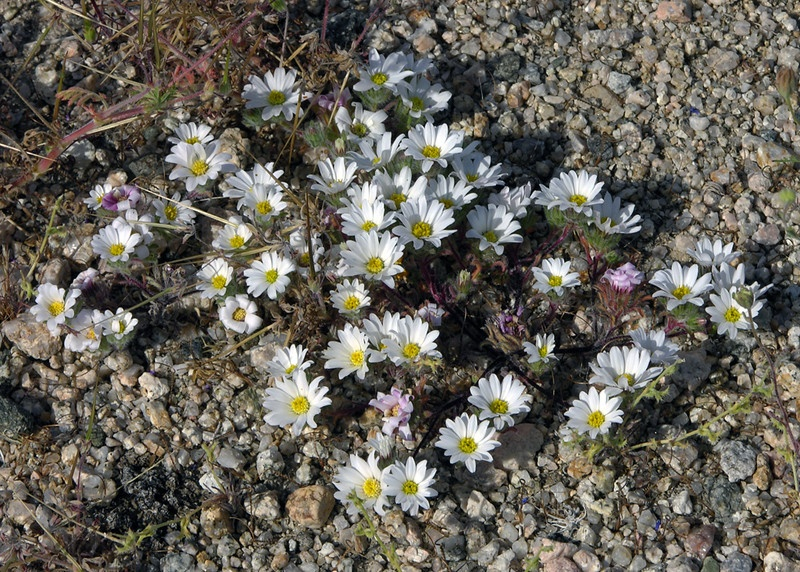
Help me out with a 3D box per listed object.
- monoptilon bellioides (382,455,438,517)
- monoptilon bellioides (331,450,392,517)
[{"bbox_3d":[0.045,1.040,4.072,0.275,0.106,0.279,-9,72,-1],"label":"monoptilon bellioides"},{"bbox_3d":[-0.203,1.041,4.145,0.265,0.136,0.359,-17,70,33],"label":"monoptilon bellioides"}]
